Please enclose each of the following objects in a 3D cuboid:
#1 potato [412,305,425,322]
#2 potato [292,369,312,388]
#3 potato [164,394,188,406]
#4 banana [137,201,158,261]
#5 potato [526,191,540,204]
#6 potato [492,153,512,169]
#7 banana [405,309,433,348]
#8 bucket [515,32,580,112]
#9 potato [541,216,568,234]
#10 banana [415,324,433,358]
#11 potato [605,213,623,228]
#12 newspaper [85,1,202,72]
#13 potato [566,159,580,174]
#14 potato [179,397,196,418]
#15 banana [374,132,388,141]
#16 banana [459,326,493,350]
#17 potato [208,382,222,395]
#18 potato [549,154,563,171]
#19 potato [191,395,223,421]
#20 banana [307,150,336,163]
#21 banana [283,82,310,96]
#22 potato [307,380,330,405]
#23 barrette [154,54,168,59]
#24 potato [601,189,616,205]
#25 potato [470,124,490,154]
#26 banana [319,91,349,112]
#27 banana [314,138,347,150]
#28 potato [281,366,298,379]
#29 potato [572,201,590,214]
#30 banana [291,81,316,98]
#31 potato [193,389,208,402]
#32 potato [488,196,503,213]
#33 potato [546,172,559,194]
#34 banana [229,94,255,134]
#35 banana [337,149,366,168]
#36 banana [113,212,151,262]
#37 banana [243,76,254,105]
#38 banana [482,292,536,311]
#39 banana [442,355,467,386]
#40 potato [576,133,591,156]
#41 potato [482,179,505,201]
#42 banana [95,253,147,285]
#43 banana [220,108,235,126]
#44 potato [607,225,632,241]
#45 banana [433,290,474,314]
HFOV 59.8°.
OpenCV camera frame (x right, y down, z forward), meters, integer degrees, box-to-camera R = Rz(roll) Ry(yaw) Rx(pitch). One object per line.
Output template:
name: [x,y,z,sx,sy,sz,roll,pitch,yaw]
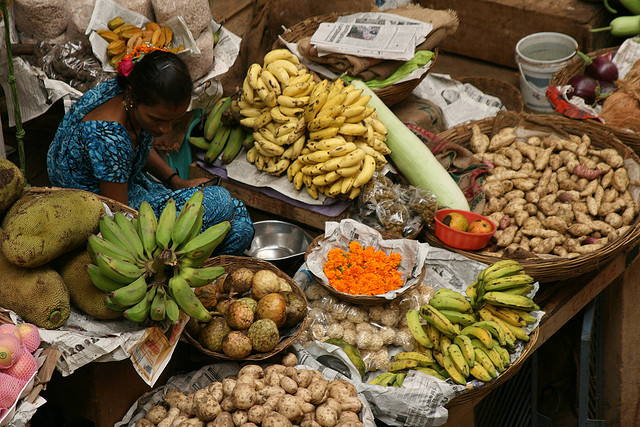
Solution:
potato: [0.660,0.646,3.687,0.044,0.035,0.183,-3,87,-32]
potato: [-0.099,0.950,3.221,0.073,0.083,0.101,24,46,34]
potato: [-0.834,1.071,3.205,0.103,0.056,0.041,-16,91,1]
banana: [-0.940,0.121,3.047,0.115,0.143,0.417,-2,41,-19]
potato: [1.661,-0.117,4.340,0.079,0.088,0.045,36,19,24]
potato: [1.506,-0.434,4.602,0.126,0.073,0.099,32,57,27]
banana: [0.623,0.724,3.503,0.133,0.107,0.335,-10,39,2]
bucket: [2.212,-1.319,5.537,0.464,0.511,0.549,11,34,32]
potato: [1.756,0.084,4.164,0.158,0.094,0.105,18,49,12]
banana: [0.661,0.835,3.540,0.056,0.241,0.078,-17,22,-23]
potato: [2.167,0.054,4.114,0.093,0.057,0.101,3,40,-15]
newspaper: [-1.426,-1.447,4.440,0.749,0.279,0.575,4,48,-21]
potato: [1.995,-0.368,4.407,0.095,0.054,0.104,-19,67,28]
potato: [-0.752,1.090,3.158,0.029,0.099,0.089,19,16,41]
banana: [0.486,-0.594,4.453,0.040,0.139,0.049,-36,42,25]
banana: [0.975,0.773,3.413,0.205,0.058,0.126,1,78,48]
potato: [-0.610,0.995,3.183,0.048,0.014,0.051,28,89,25]
potato: [1.895,-0.411,4.469,0.085,0.042,0.127,0,72,20]
potato: [-0.620,1.065,3.041,0.124,0.075,0.137,20,45,10]
banana: [0.010,-0.416,4.169,0.217,0.080,0.078,0,27,14]
banana: [-0.186,-0.947,4.270,0.177,0.065,0.093,-25,34,-7]
potato: [-0.003,1.013,3.156,0.131,0.071,0.116,-2,47,-15]
barrette: [-0.966,-0.942,3.368,0.075,0.011,0.022,-24,57,-32]
potato: [2.206,-0.122,4.252,0.069,0.046,0.141,26,67,14]
potato: [1.355,-0.616,4.733,0.127,0.064,0.237,-24,53,25]
banana: [0.102,-0.829,4.186,0.175,0.064,0.051,-39,96,3]
banana: [0.080,-0.516,4.202,0.236,0.096,0.085,-9,25,-5]
potato: [-0.177,0.917,3.212,0.046,0.035,0.062,7,22,15]
potato: [1.975,-0.045,4.217,0.074,0.095,0.046,-8,77,15]
banana: [-0.136,-0.949,4.294,0.147,0.040,0.048,-46,28,-1]
potato: [-0.679,1.024,3.146,0.054,0.018,0.057,-39,25,-16]
potato: [1.368,-0.060,4.342,0.098,0.054,0.110,7,74,16]
potato: [1.830,-0.232,4.389,0.073,0.050,0.160,2,68,40]
banana: [-0.621,-0.786,4.490,0.113,0.070,0.306,-25,85,-48]
banana: [0.240,-0.399,4.148,0.248,0.078,0.091,-40,73,-15]
banana: [-1.015,0.132,3.106,0.099,0.361,0.123,35,65,19]
banana: [-0.581,-0.975,4.462,0.070,0.057,0.239,1,72,-55]
banana: [1.200,0.560,3.524,0.336,0.086,0.084,9,44,-6]
banana: [0.802,0.949,3.349,0.065,0.072,0.225,-20,75,-21]
potato: [2.138,-0.545,4.506,0.064,0.052,0.190,31,50,9]
potato: [1.381,-0.192,4.418,0.121,0.100,0.161,-24,25,-31]
banana: [-1.048,0.292,2.899,0.093,0.312,0.115,25,85,46]
banana: [-0.756,-0.772,4.589,0.049,0.202,0.079,-8,58,5]
potato: [2.169,0.141,4.032,0.149,0.054,0.083,-24,12,25]
banana: [0.871,0.578,3.613,0.207,0.062,0.131,19,73,4]
